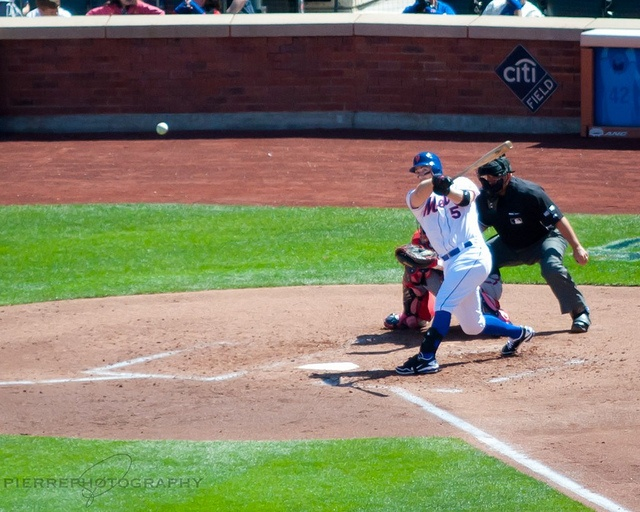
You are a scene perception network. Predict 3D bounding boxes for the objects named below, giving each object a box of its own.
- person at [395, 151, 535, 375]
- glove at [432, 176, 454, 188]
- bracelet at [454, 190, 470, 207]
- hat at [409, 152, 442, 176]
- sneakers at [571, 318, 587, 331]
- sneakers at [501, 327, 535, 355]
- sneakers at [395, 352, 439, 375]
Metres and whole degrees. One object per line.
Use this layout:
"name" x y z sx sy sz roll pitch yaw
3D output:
"person" 1.419 0.186 13.807 1.359 2.077 0.622 -4 6 -2
"glove" 1.266 -0.763 13.473 0.203 0.111 0.160 -3 5 1
"bracelet" 1.496 -0.583 13.605 0.156 0.151 0.148 -15 43 2
"hat" 1.170 -0.981 14.039 0.358 0.226 0.249 -1 -4 -9
"sneakers" 2.916 0.768 14.704 0.191 0.165 0.116 -2 6 15
"sneakers" 2.146 0.913 14.183 0.154 0.334 0.110 12 38 -57
"sneakers" 1.037 1.135 13.851 0.510 0.207 0.184 1 6 -5
